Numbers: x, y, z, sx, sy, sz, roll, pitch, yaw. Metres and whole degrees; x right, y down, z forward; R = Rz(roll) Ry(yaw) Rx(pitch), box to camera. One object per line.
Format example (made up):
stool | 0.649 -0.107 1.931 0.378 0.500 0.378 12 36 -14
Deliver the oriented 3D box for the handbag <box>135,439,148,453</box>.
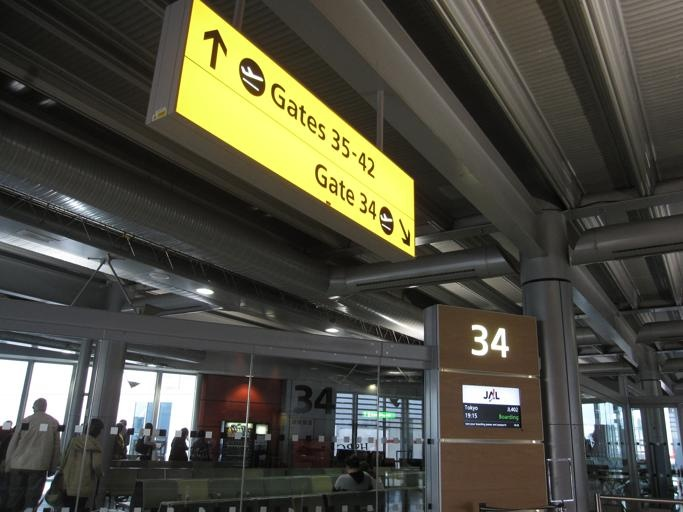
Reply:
handbag | -2.164 2.066 5.437 0.087 0.160 0.095 -9 -26 27

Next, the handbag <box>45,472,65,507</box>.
handbag | -2.930 2.410 5.162 0.163 0.331 0.076 12 -23 -26
